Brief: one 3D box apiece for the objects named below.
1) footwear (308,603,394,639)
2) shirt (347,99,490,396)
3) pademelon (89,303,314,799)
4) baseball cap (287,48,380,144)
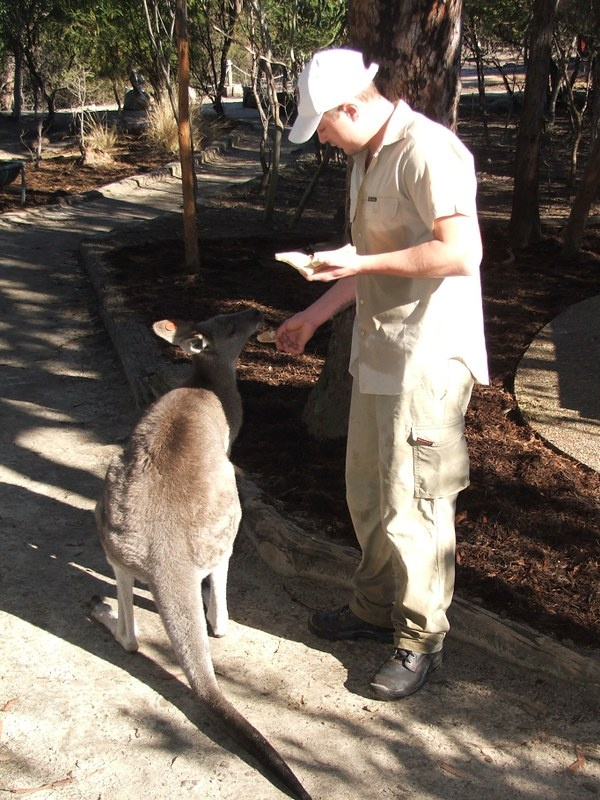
[{"bbox_3d":[0.182,0.868,2.942,0.358,0.132,0.121,7,15,3],"label":"footwear"},{"bbox_3d":[0.336,-0.410,2.299,0.511,0.946,0.368,12,26,22],"label":"shirt"},{"bbox_3d":[-0.405,0.386,2.754,0.624,0.884,1.789,-5,59,-12],"label":"pademelon"},{"bbox_3d":[0.096,-0.911,2.237,0.257,0.272,0.240,2,23,0],"label":"baseball cap"}]
